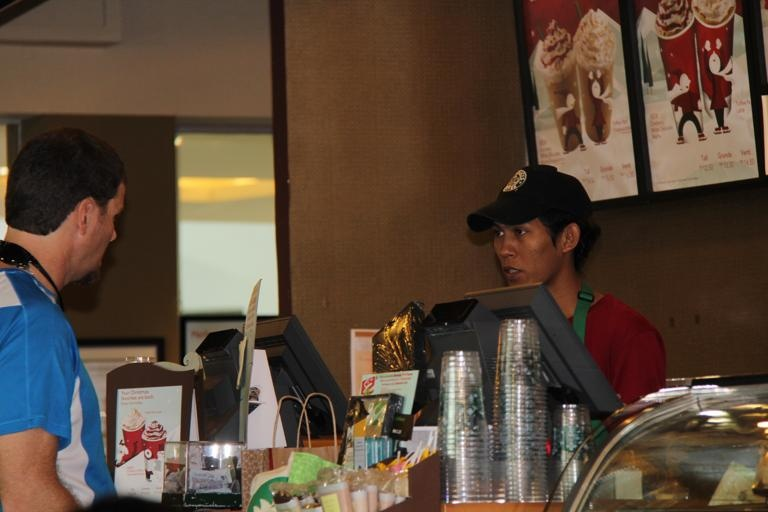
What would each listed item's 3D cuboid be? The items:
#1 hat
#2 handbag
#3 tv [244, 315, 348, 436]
[{"bbox_3d":[0.679,-0.241,5.166,0.427,0.248,0.290,3,-4,-13],"label":"hat"},{"bbox_3d":[-0.333,0.705,4.454,0.243,0.393,0.128,0,1,4],"label":"handbag"},{"bbox_3d":[-0.395,0.541,4.874,0.209,0.411,0.390,-30,22,-15],"label":"tv"}]
